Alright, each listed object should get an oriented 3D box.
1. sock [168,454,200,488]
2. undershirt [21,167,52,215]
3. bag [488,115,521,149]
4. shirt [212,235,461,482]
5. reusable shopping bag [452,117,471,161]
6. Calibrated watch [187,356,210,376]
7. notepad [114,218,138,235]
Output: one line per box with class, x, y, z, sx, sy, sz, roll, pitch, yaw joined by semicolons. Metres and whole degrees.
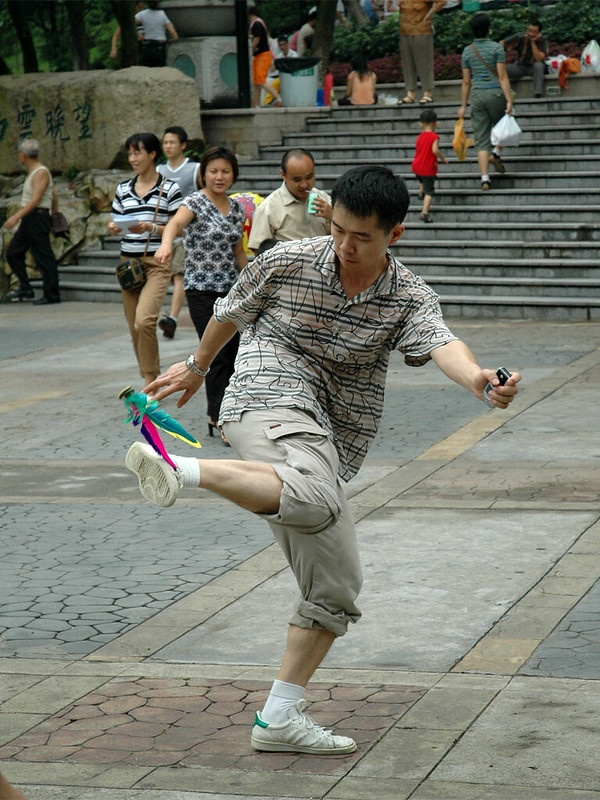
sock;-0.283;0.179;2.547;0.069;0.076;0.095;-6;9;-7
undershirt;-3.776;-3.020;14.657;0.443;0.595;0.780;-8;10;-14
bag;2.825;-3.720;14.154;0.402;0.456;0.387;-4;10;9
shirt;0.017;-0.196;3.089;0.691;0.760;0.714;-3;27;-19
reusable shopping bag;2.310;-3.771;14.699;0.226;0.607;0.920;-4;9;11
Calibrated watch;-0.332;-0.111;3.320;0.068;0.057;0.066;31;-8;-22
notepad;-1.446;-1.442;8.414;0.202;0.146;0.059;4;33;12
